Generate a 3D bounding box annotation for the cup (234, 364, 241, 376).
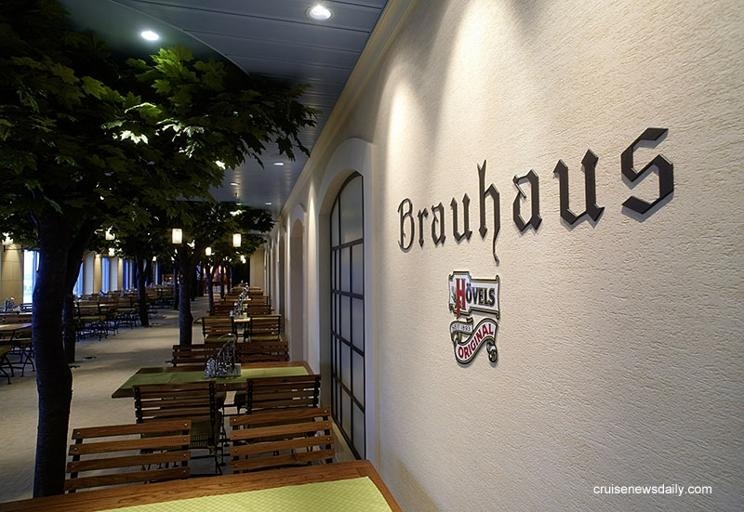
[{"bbox_3d":[-1.566,1.311,5.379,0.085,0.115,0.121,0,-4,-7],"label":"cup"}]
